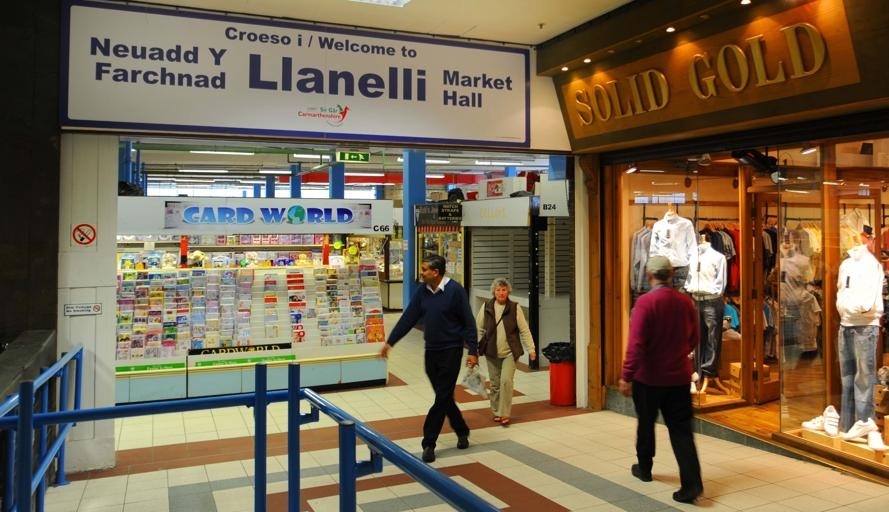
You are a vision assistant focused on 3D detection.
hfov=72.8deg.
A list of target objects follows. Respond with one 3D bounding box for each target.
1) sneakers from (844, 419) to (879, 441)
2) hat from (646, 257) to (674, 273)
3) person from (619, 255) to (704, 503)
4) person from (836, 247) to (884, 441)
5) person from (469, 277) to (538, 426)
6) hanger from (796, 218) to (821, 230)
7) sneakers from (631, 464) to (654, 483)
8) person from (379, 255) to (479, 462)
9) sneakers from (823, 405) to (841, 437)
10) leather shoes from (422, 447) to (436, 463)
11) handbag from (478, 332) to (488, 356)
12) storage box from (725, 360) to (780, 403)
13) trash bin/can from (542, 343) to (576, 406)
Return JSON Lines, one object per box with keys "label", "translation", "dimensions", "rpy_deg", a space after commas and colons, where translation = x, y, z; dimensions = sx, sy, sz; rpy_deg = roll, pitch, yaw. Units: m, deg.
{"label": "sneakers", "translation": [4.650, 1.962, 6.768], "dimensions": [0.370, 0.151, 0.154], "rpy_deg": [-28, -9, 42]}
{"label": "hat", "translation": [2.317, 0.101, 6.524], "dimensions": [0.195, 0.171, 0.222], "rpy_deg": [-1, 8, -3]}
{"label": "person", "translation": [2.345, 1.285, 6.450], "dimensions": [0.832, 2.521, 0.603], "rpy_deg": [2, 8, 22]}
{"label": "person", "translation": [4.631, 0.978, 6.782], "dimensions": [0.412, 2.174, 0.323], "rpy_deg": [2, 8, 24]}
{"label": "person", "translation": [0.808, 1.293, 8.120], "dimensions": [0.760, 1.931, 0.501], "rpy_deg": [0, 7, 4]}
{"label": "hanger", "translation": [4.252, -0.373, 7.060], "dimensions": [0.176, 0.076, 0.115], "rpy_deg": [-1, -7, -16]}
{"label": "sneakers", "translation": [2.170, 2.428, 6.717], "dimensions": [0.122, 0.140, 0.244], "rpy_deg": [-2, 10, -18]}
{"label": "person", "translation": [-0.119, 1.205, 7.201], "dimensions": [1.003, 2.357, 0.748], "rpy_deg": [-1, 7, 1]}
{"label": "sneakers", "translation": [4.445, 1.920, 6.960], "dimensions": [0.137, 0.327, 0.141], "rpy_deg": [-1, 8, 12]}
{"label": "leather shoes", "translation": [-0.185, 2.337, 7.158], "dimensions": [0.198, 0.196, 0.494], "rpy_deg": [0, -10, 0]}
{"label": "handbag", "translation": [0.510, 1.205, 8.079], "dimensions": [0.102, 0.238, 0.187], "rpy_deg": [7, -9, -1]}
{"label": "storage box", "translation": [4.317, 1.736, 8.617], "dimensions": [0.862, 0.671, 0.546], "rpy_deg": [0, -5, -7]}
{"label": "trash bin/can", "translation": [1.690, 1.754, 8.855], "dimensions": [0.442, 0.884, 0.250], "rpy_deg": [0, 8, 8]}
